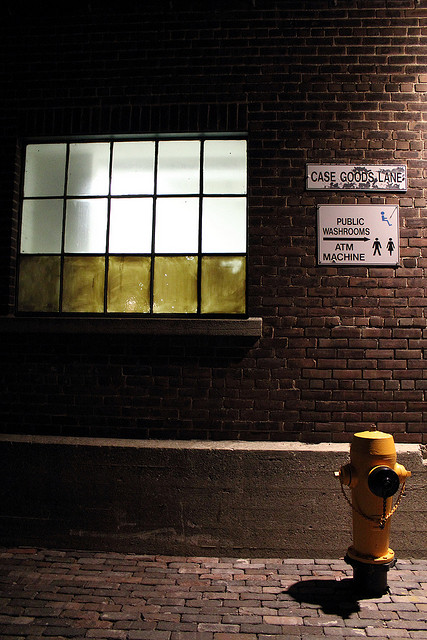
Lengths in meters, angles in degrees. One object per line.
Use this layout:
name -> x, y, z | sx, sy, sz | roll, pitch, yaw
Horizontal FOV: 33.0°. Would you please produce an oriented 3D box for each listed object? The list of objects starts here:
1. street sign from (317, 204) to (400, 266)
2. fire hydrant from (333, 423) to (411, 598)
street sign -> 1.176, -0.670, 5.750 | 0.491, 0.366, 0.019 | 1, -3, 1
fire hydrant -> 1.103, 1.317, 5.004 | 0.495, 1.183, 0.639 | 0, 15, 13
